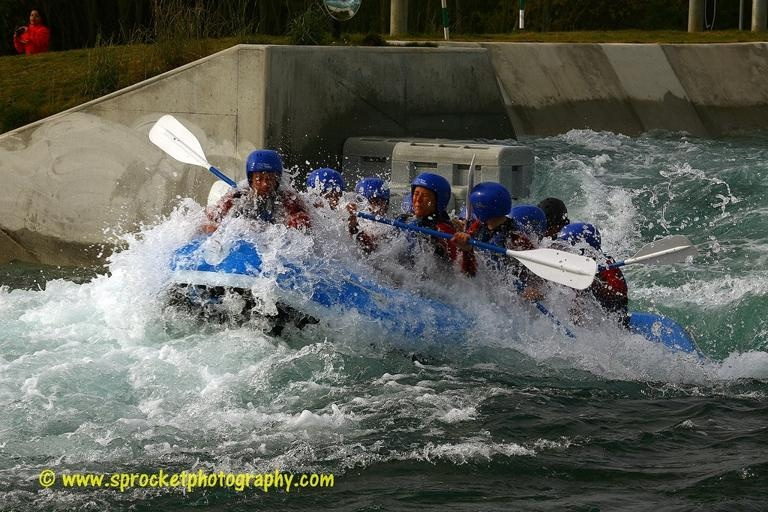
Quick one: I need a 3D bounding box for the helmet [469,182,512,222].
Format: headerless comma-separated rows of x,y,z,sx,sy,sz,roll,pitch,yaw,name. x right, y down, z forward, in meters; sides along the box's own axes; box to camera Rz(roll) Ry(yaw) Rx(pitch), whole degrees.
1.260,-0.644,11.243,0.459,0.380,0.352,9,28,27,helmet

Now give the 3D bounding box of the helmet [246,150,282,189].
-1.316,-1.041,11.111,0.305,0.367,0.390,0,-23,-8,helmet

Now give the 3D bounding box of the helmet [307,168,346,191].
-0.664,-0.944,11.951,0.394,0.306,0.312,-6,-4,36,helmet

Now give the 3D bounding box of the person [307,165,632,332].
0.868,-0.066,11.505,3.015,1.234,0.823,23,-17,9,person

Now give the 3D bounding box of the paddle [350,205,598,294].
0.986,-0.051,11.115,3.112,0.460,0.127,15,-10,17,paddle

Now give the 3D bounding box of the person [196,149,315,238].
-1.379,-0.711,10.937,1.171,0.915,0.453,5,12,10,person
